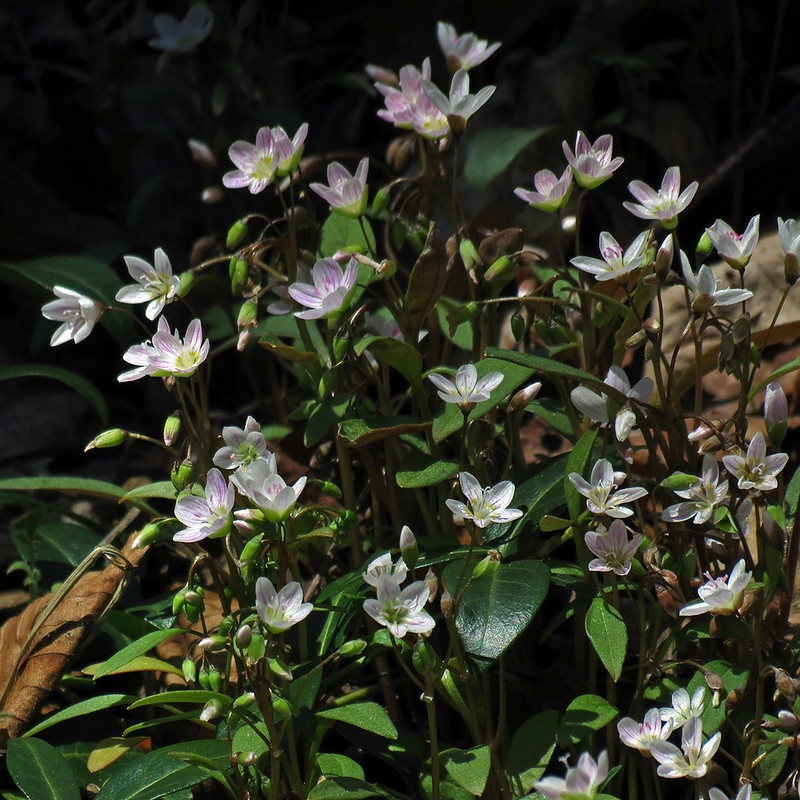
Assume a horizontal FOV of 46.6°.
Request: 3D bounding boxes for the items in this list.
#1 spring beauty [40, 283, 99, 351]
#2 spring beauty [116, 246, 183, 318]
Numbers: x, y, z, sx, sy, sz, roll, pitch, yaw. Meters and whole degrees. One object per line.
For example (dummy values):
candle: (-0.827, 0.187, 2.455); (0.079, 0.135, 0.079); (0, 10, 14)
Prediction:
spring beauty: (-0.631, -0.189, 1.804); (0.047, 0.101, 0.089); (-13, 29, -24)
spring beauty: (-0.453, -0.218, 1.763); (0.110, 0.138, 0.079); (-10, 3, 18)
